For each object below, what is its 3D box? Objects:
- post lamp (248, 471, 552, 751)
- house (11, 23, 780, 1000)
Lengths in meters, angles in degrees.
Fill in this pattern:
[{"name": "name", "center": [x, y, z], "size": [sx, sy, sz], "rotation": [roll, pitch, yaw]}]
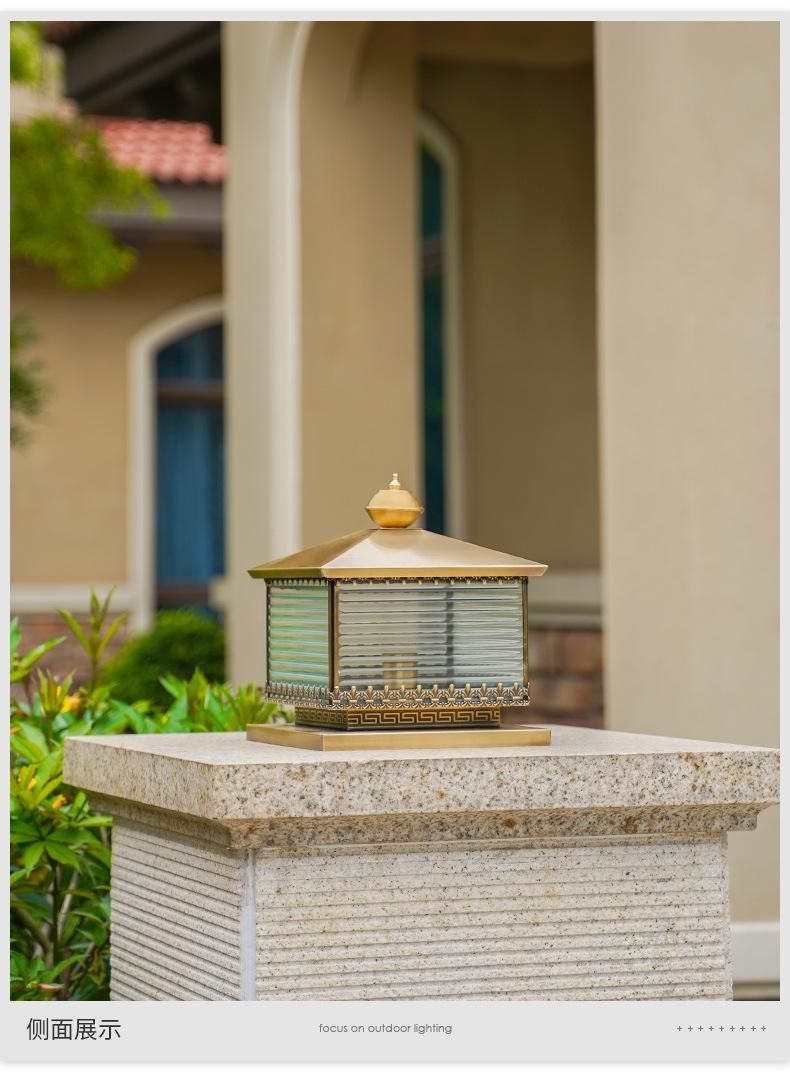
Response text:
[{"name": "post lamp", "center": [0.015, 0.145, 4.416], "size": [0.600, 0.533, 0.594], "rotation": [-2, -2, 19]}, {"name": "house", "center": [0.274, -0.227, 7.220], "size": [2.382, 3.285, 2.341], "rotation": [-1, 0, 18]}]
